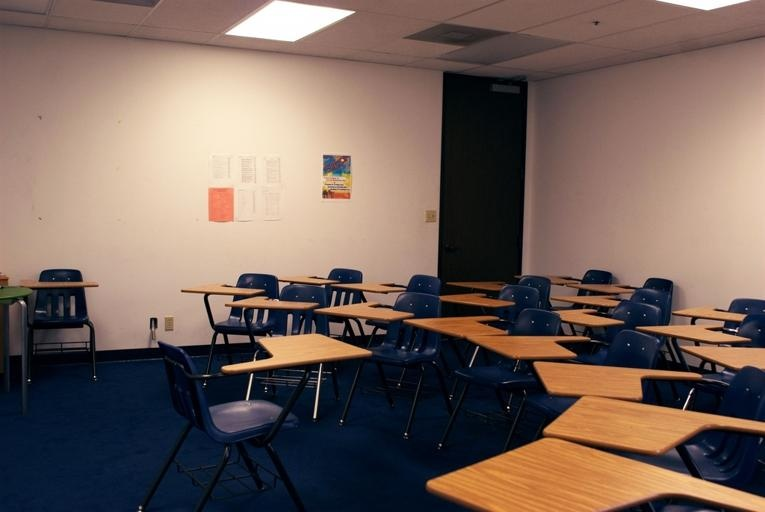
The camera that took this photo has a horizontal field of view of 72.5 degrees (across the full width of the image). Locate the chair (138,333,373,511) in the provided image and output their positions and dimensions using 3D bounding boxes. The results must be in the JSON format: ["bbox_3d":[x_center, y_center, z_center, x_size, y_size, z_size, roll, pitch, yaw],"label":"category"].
[{"bbox_3d":[-0.963,1.192,4.022,1.553,1.153,1.263,-1,6,-29],"label":"chair"}]

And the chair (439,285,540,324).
[{"bbox_3d":[1.257,0.505,5.840,0.674,0.394,0.697,1,-1,-28],"label":"chair"}]

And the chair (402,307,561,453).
[{"bbox_3d":[1.048,1.079,5.050,1.255,1.509,1.356,6,-4,-28],"label":"chair"}]
